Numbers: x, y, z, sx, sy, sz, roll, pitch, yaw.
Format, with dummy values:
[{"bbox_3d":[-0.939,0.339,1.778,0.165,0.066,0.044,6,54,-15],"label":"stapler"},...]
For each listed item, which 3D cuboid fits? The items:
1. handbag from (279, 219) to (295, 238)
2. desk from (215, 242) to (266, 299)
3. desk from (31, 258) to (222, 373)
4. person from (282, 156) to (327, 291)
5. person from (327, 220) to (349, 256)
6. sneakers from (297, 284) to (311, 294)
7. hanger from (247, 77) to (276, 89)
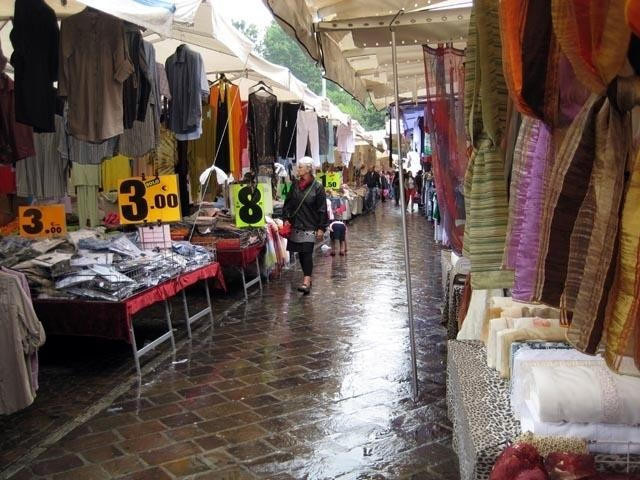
[{"bbox_3d":[-0.566,-0.194,7.787,0.202,0.286,0.108,16,2,16],"label":"handbag"},{"bbox_3d":[-1.312,0.516,7.562,0.809,0.843,0.778,0,5,25],"label":"desk"},{"bbox_3d":[-1.989,0.823,4.991,0.974,0.840,1.597,4,9,16],"label":"desk"},{"bbox_3d":[-0.253,-0.252,7.644,0.739,2.177,0.587,2,8,4],"label":"person"},{"bbox_3d":[0.439,-0.122,11.294,0.521,1.029,0.514,10,-16,-28],"label":"person"},{"bbox_3d":[-0.252,0.784,7.581,0.206,0.158,0.290,1,8,-3],"label":"sneakers"},{"bbox_3d":[-1.077,-3.063,9.057,0.400,0.116,0.390,5,10,20],"label":"hanger"}]
